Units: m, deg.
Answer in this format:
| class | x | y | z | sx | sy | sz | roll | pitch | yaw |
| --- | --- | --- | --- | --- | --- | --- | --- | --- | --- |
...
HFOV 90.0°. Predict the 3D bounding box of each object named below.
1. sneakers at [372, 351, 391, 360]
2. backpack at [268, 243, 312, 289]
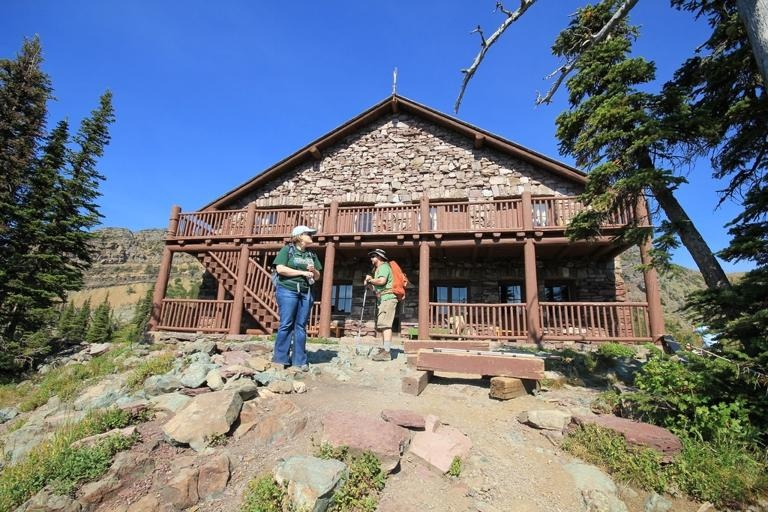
| class | x | y | z | sx | sy | sz | roll | pitch | yaw |
| --- | --- | --- | --- | --- | --- | --- | --- | --- | --- |
| sneakers | -0.022 | 2.401 | 9.164 | 0.274 | 0.168 | 0.270 | -1 | -10 | 9 |
| backpack | -1.781 | 0.229 | 7.693 | 0.853 | 0.961 | 0.333 | 4 | -15 | -11 |
